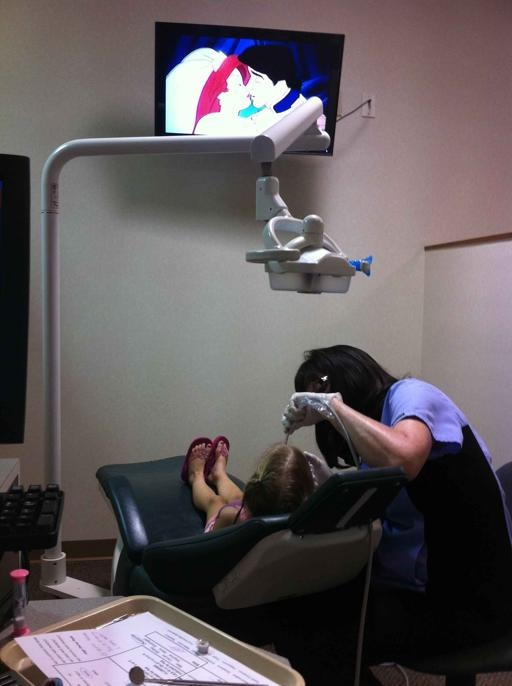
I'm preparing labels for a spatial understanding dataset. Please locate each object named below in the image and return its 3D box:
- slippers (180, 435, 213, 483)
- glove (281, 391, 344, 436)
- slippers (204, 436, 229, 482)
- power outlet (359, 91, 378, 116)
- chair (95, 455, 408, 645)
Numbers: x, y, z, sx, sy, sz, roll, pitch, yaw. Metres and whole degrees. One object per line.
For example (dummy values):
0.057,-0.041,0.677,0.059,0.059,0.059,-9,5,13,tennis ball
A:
-0.207,0.394,2.047,0.063,0.157,0.042,14,-11,-8,slippers
0.124,0.172,1.340,0.122,0.056,0.094,-13,7,18,glove
-0.143,0.402,2.122,0.033,0.138,0.049,-14,-41,42,slippers
0.469,-0.996,2.475,0.099,0.130,0.015,-3,19,-10,power outlet
-0.066,0.409,1.340,0.393,0.332,0.672,1,3,-29,chair
